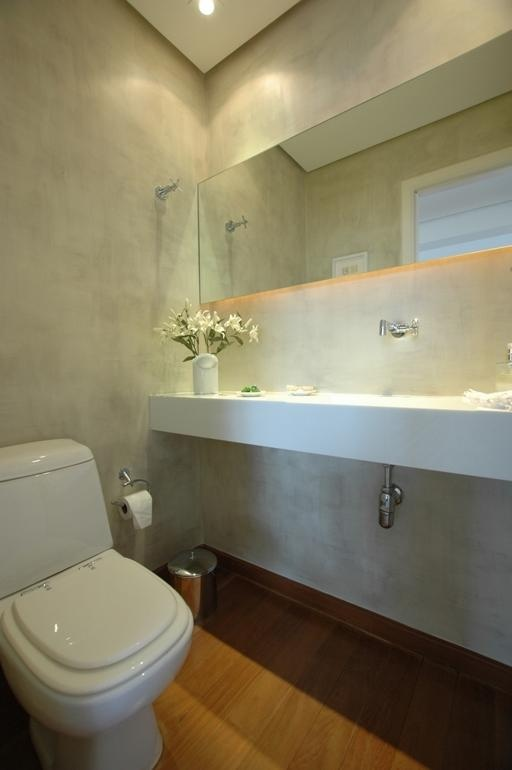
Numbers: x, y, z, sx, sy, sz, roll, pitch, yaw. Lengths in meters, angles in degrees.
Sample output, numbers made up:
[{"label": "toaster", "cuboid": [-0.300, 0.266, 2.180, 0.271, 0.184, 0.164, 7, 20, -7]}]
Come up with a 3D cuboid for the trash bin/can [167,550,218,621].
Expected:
[{"label": "trash bin/can", "cuboid": [-0.222, 0.697, 1.889, 0.156, 0.242, 0.175, 0, 3, 7]}]

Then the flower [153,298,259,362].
[{"label": "flower", "cuboid": [-0.164, -0.195, 2.083, 0.367, 0.255, 0.374, 6, 14, 31]}]

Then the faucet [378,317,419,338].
[{"label": "faucet", "cuboid": [0.460, -0.177, 1.653, 0.070, 0.057, 0.071, 1, 7, 0]}]

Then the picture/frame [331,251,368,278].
[{"label": "picture/frame", "cuboid": [0.326, -0.410, 1.768, 0.007, 0.090, 0.068, -24, 8, -42]}]

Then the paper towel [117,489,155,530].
[{"label": "paper towel", "cuboid": [-0.417, 0.416, 1.842, 0.094, 0.157, 0.128, 11, 7, 32]}]
